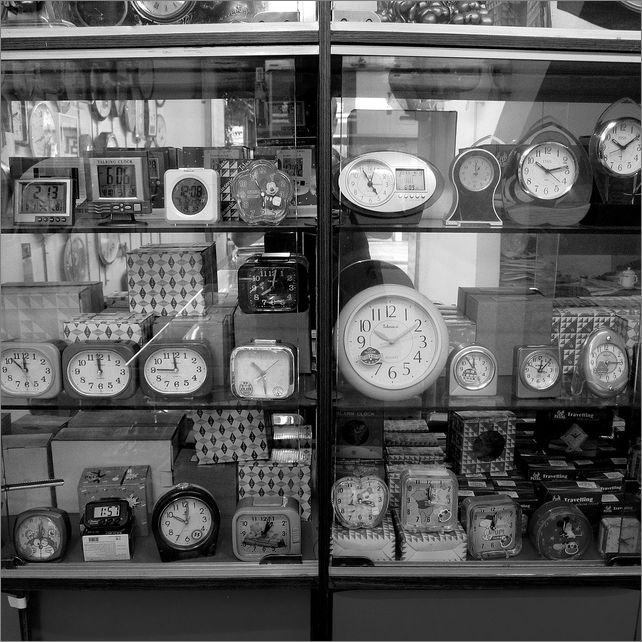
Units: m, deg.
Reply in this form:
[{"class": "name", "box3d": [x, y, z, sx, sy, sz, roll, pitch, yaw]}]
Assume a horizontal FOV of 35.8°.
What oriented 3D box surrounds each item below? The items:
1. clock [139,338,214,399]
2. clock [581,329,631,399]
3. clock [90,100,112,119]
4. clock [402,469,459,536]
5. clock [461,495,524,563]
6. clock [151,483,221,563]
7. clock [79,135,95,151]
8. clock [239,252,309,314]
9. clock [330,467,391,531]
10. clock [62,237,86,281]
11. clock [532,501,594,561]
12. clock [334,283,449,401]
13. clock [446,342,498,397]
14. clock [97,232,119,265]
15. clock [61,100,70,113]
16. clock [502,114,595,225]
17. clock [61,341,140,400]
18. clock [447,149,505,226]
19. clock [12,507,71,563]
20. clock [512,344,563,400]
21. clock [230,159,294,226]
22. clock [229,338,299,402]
[{"class": "clock", "box3d": [-0.451, 0.146, 3.041, 0.142, 0.150, 0.062, 0, 3, -2]}, {"class": "clock", "box3d": [0.891, 0.134, 3.076, 0.136, 0.242, 0.041, -2, -35, 15]}, {"class": "clock", "box3d": [-0.710, -0.682, 3.192, 0.057, 0.071, 0.060, -4, 5, -26]}, {"class": "clock", "box3d": [0.334, 0.563, 3.059, 0.144, 0.185, 0.074, 0, 2, -2]}, {"class": "clock", "box3d": [0.548, 0.667, 3.106, 0.159, 0.180, 0.106, -11, -39, 24]}, {"class": "clock", "box3d": [-0.421, 0.655, 3.108, 0.190, 0.245, 0.133, -7, -36, -5]}, {"class": "clock", "box3d": [-0.750, -0.571, 3.165, 0.020, 0.064, 0.040, 10, 11, 40]}, {"class": "clock", "box3d": [-0.150, -0.142, 3.046, 0.214, 0.149, 0.192, -4, -52, -9]}, {"class": "clock", "box3d": [0.113, 0.550, 3.047, 0.166, 0.192, 0.036, -1, 1, -4]}, {"class": "clock", "box3d": [-0.798, -0.207, 3.203, 0.102, 0.128, 0.113, -1, 16, -18]}, {"class": "clock", "box3d": [0.764, 0.694, 3.094, 0.165, 0.190, 0.124, -3, -47, 25]}, {"class": "clock", "box3d": [0.196, 0.065, 3.004, 0.278, 0.358, 0.046, -1, 1, -3]}, {"class": "clock", "box3d": [0.461, 0.154, 3.058, 0.124, 0.159, 0.055, -1, 9, -1]}, {"class": "clock", "box3d": [-0.671, -0.234, 3.121, 0.074, 0.108, 0.013, -1, 14, -8]}, {"class": "clock", "box3d": [-0.827, -0.688, 3.190, 0.028, 0.037, 0.011, 2, 3, 0]}, {"class": "clock", "box3d": [0.701, -0.447, 3.060, 0.271, 0.397, 0.074, 0, -29, 16]}, {"class": "clock", "box3d": [-0.679, 0.152, 3.031, 0.230, 0.165, 0.093, 0, -8, -13]}, {"class": "clock", "box3d": [0.469, -0.403, 3.026, 0.175, 0.292, 0.083, -1, 4, -7]}, {"class": "clock", "box3d": [-0.875, 0.638, 3.075, 0.173, 0.209, 0.104, 5, 23, -12]}, {"class": "clock", "box3d": [0.686, 0.179, 3.088, 0.123, 0.186, 0.100, -4, -37, 26]}, {"class": "clock", "box3d": [-0.180, -0.383, 2.974, 0.185, 0.181, 0.089, -2, -8, -5]}, {"class": "clock", "box3d": [-0.173, 0.155, 3.016, 0.144, 0.173, 0.060, 0, 1, 0]}]
